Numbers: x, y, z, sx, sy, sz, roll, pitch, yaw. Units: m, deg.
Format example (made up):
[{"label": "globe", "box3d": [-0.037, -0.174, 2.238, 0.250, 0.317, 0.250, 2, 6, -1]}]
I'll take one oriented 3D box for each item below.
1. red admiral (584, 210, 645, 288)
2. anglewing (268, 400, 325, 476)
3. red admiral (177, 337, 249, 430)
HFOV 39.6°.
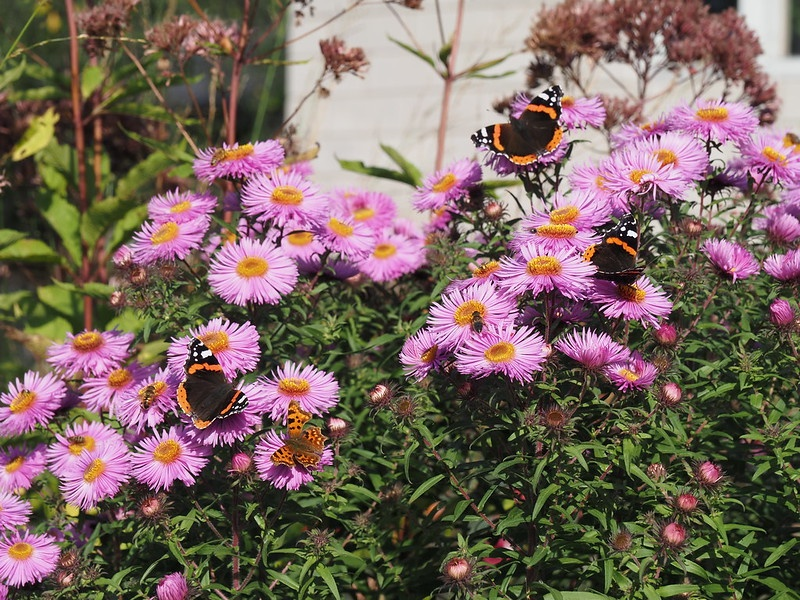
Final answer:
[{"label": "red admiral", "box3d": [0.890, -0.189, 4.632, 0.241, 0.249, 0.354, 3, 29, 10]}, {"label": "anglewing", "box3d": [-0.417, 0.609, 4.649, 0.230, 0.279, 0.216, 15, 32, 30]}, {"label": "red admiral", "box3d": [-0.786, 0.400, 4.616, 0.244, 0.225, 0.437, -29, 47, -15]}]
